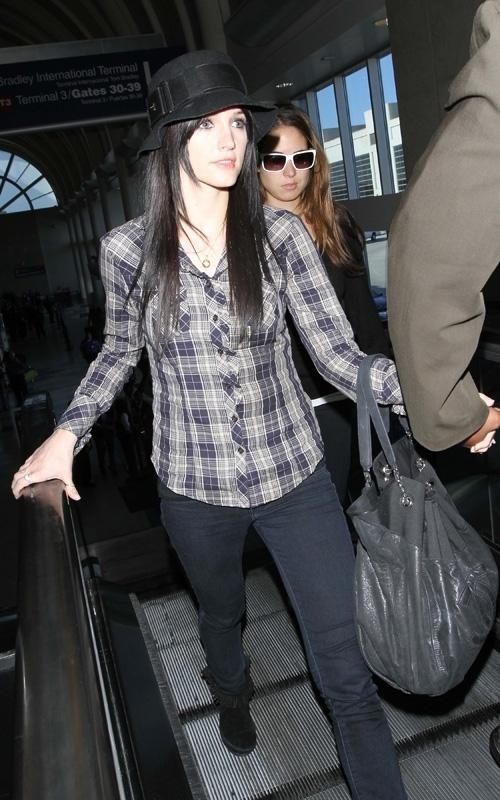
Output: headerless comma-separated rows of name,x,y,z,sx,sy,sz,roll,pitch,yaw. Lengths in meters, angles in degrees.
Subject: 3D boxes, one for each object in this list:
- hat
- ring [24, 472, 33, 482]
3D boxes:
hat,-0.136,-0.766,1.353,0.325,0.186,0.342,-7,28,13
ring,-0.525,0.179,1.249,0.013,0.005,0.017,4,48,-18
